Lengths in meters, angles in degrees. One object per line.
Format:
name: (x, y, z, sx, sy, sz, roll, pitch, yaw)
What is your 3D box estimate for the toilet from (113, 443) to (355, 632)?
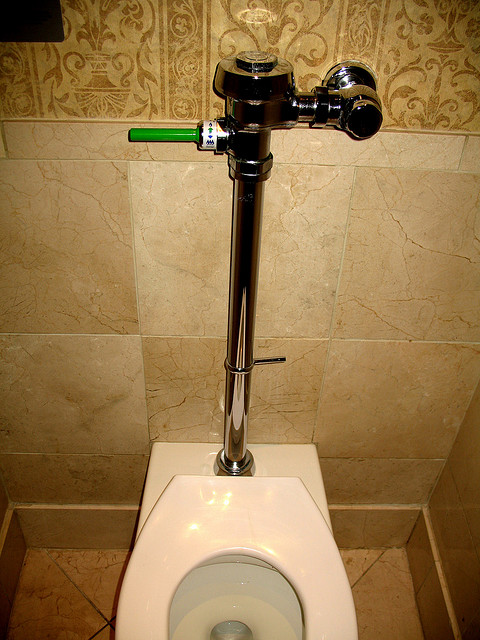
toilet: (-0.016, 0.362, 0.860, 0.349, 0.230, 0.427, 3, 30, -5)
